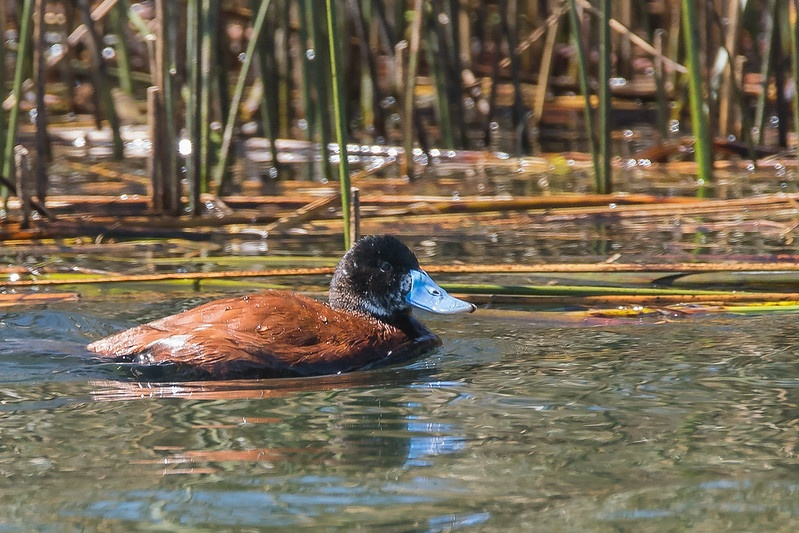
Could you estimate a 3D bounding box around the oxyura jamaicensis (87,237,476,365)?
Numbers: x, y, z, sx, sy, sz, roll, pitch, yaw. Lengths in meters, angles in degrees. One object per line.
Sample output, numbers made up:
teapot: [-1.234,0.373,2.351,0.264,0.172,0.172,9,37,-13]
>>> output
oxyura jamaicensis: [-0.623,0.223,3.743,2.018,0.372,0.547,-3,22,-19]
